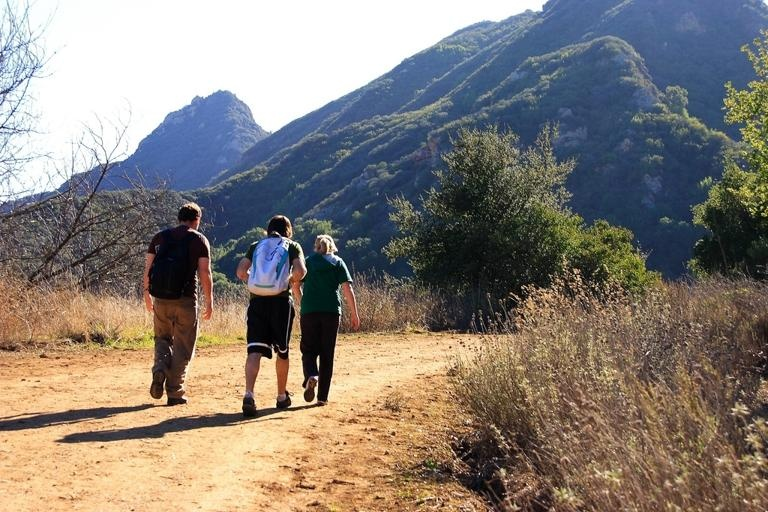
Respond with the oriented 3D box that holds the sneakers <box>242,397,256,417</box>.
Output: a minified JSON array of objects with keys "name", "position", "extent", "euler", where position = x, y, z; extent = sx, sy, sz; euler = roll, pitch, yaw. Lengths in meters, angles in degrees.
[{"name":"sneakers","position":[-2.128,2.356,9.912],"extent":[0.241,0.349,0.235],"euler":[2,6,-1]}]

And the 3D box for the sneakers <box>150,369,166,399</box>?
[{"name":"sneakers","position":[-3.559,2.031,9.937],"extent":[0.232,0.459,0.276],"euler":[0,6,-20]}]

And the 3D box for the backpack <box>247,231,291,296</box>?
[{"name":"backpack","position":[-1.828,0.171,10.023],"extent":[0.656,0.930,0.402],"euler":[1,5,-12]}]
